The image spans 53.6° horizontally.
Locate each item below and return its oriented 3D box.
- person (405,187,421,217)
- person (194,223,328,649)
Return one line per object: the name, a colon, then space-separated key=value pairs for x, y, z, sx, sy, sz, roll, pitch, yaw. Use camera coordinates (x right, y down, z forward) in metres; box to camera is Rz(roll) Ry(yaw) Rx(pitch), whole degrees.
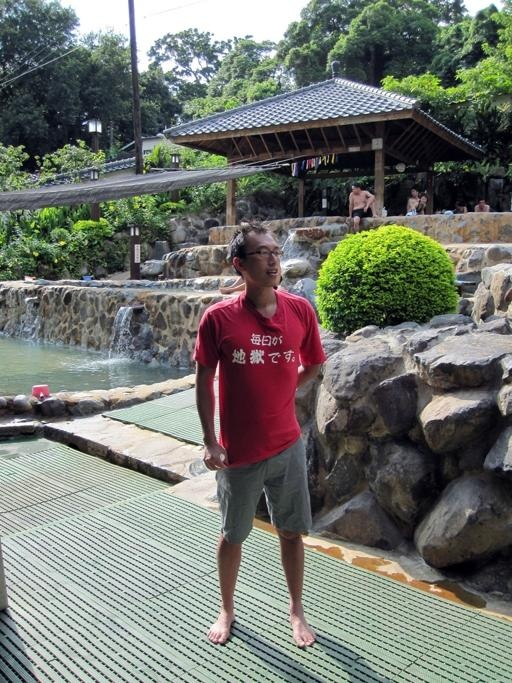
person: x=4.801 y=-4.235 z=15.380 sx=0.342 sy=0.999 sz=1.993 roll=1 pitch=4 yaw=18
person: x=0.031 y=0.339 z=1.871 sx=0.523 sy=1.560 sz=0.333 roll=-1 pitch=4 yaw=-14
